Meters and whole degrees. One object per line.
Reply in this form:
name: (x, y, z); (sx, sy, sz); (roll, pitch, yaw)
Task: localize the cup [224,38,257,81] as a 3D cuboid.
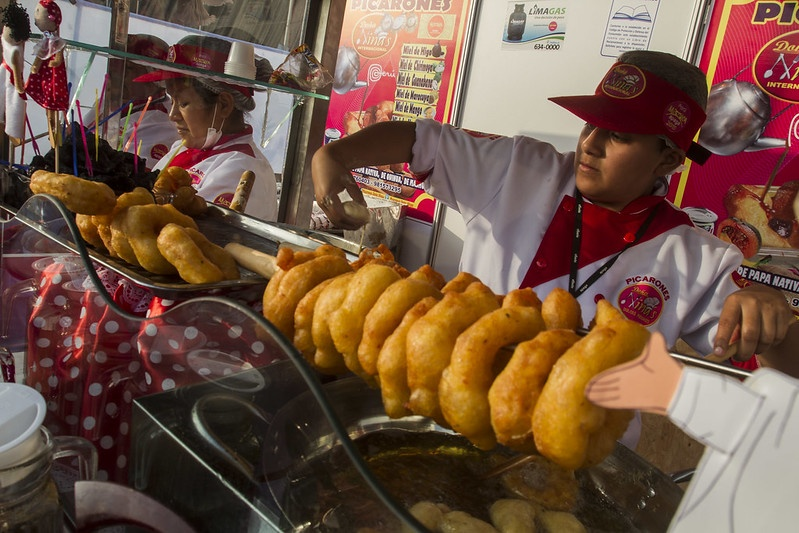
cup: (-0.560, -0.730, 1.894); (0.110, 0.116, 0.208); (3, 17, -17)

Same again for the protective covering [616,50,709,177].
protective covering: (0.812, -0.475, 1.626); (0.315, 0.113, 0.198); (24, 18, -24)

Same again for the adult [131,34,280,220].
adult: (-0.949, -0.627, 2.548); (0.652, 0.812, 0.992); (-1, 18, -36)

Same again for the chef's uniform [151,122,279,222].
chef's uniform: (-0.682, -0.372, 2.088); (0.275, 0.309, 0.525); (9, 14, -45)

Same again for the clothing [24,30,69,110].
clothing: (-0.816, -0.446, 1.235); (0.080, 0.166, 0.144); (-3, 20, -33)

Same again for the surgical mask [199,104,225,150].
surgical mask: (-0.880, -0.629, 2.481); (0.125, 0.127, 0.069); (-13, 7, -44)

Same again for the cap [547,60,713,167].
cap: (0.721, -0.520, 1.649); (0.515, 0.166, 0.339); (6, 31, -17)

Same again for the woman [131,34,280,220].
woman: (-0.933, -0.621, 2.574); (0.635, 0.835, 1.019); (-2, 15, -36)
